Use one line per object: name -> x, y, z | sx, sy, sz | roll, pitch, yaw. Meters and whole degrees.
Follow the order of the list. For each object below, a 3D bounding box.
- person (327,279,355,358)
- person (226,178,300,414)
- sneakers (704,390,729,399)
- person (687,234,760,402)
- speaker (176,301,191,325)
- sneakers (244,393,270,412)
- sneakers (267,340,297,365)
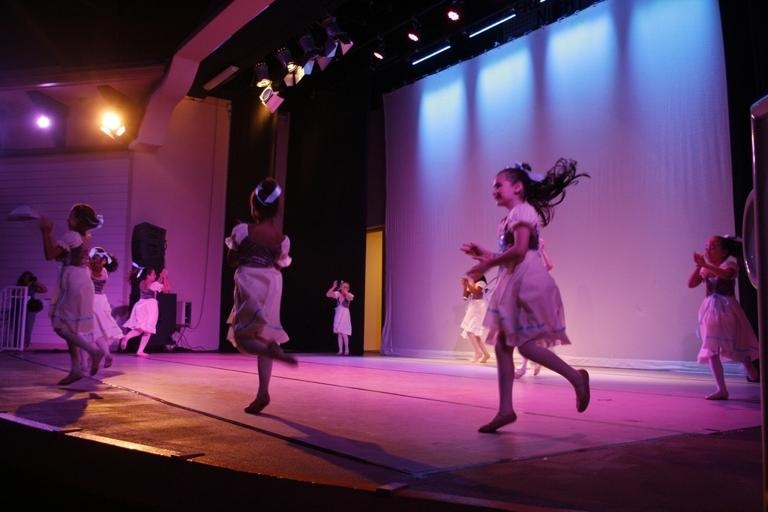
person -> -0.851, 1.206, 9.835 | 0.407, 1.447, 0.556 | 0, -4, -21
person -> -0.890, 0.250, 3.588 | 0.466, 1.727, 0.524 | 0, -4, -15
sneakers -> 2.879, 1.218, 4.339 | 0.169, 0.083, 0.209 | -4, -5, 35
person -> 3.290, 0.584, 4.862 | 0.511, 1.533, 1.483 | -4, -4, 36
speaker -> -4.135, 1.204, 10.376 | 0.280, 0.508, 0.462 | 0, -4, -22
sneakers -> -0.891, 1.052, 3.561 | 0.205, 0.119, 0.161 | 2, -5, -41
sneakers -> -0.693, 0.692, 3.451 | 0.159, 0.175, 0.298 | 2, -5, -38
